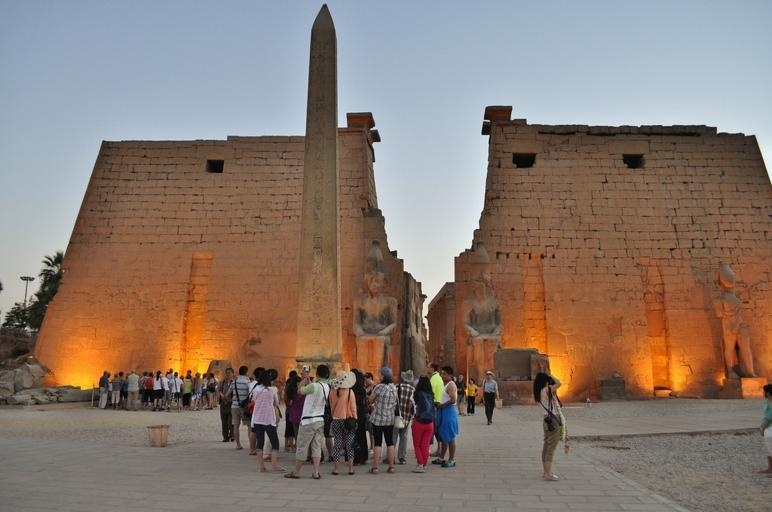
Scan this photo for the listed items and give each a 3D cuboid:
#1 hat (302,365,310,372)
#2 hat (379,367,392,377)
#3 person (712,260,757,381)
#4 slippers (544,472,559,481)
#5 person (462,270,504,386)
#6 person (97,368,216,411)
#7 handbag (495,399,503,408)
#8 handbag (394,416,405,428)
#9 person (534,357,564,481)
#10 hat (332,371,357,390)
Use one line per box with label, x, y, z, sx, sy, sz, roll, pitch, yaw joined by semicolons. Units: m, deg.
hat;-1.514;2.130;9.444;0.148;0.142;0.109;2;-43;-3
hat;0.001;1.675;7.262;0.158;0.116;0.220;1;6;-4
person;11.613;2.094;16.676;0.748;3.822;1.100;-9;-15;35
slippers;2.139;2.836;6.391;0.150;0.049;0.091;-3;5;-9
person;3.071;2.113;15.735;1.188;3.404;1.019;-2;-12;8
person;-6.811;3.890;14.507;2.355;1.022;1.375;2;-12;-12
handbag;3.217;4.196;14.113;0.217;0.249;0.206;1;-12;0
handbag;0.207;2.365;7.134;0.171;0.214;0.173;-3;-9;14
person;2.281;2.287;6.879;0.352;1.337;1.042;-4;-12;16
hat;-0.566;1.727;6.939;0.254;0.236;0.087;-15;-32;4
